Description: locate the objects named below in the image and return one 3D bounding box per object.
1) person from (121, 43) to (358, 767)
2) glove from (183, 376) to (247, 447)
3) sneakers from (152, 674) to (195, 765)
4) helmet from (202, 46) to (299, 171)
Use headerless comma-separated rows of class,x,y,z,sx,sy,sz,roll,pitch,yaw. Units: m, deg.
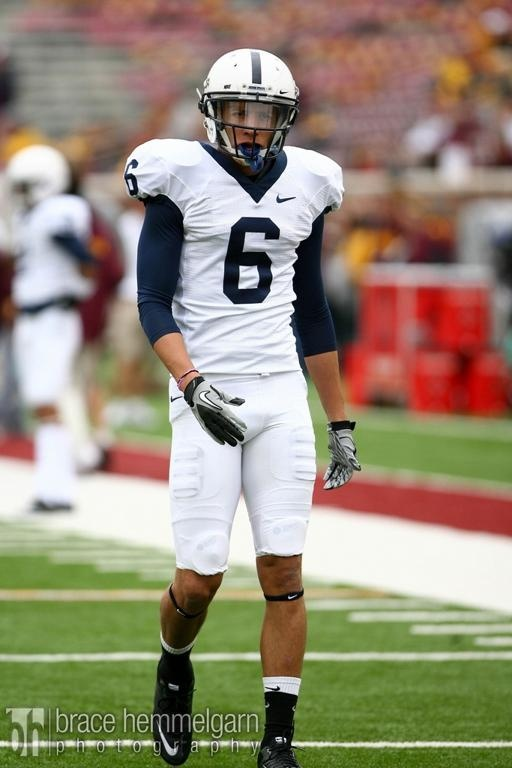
person,0.020,0.039,2.265,0.493,1.708,0.621,5,8,31
glove,-0.085,0.059,1.997,0.113,0.146,0.049,-39,-1,-39
sneakers,-0.199,0.807,2.261,0.083,0.084,0.203,-2,64,-7
helmet,-0.027,-0.680,2.281,0.268,0.240,0.262,3,19,-1
